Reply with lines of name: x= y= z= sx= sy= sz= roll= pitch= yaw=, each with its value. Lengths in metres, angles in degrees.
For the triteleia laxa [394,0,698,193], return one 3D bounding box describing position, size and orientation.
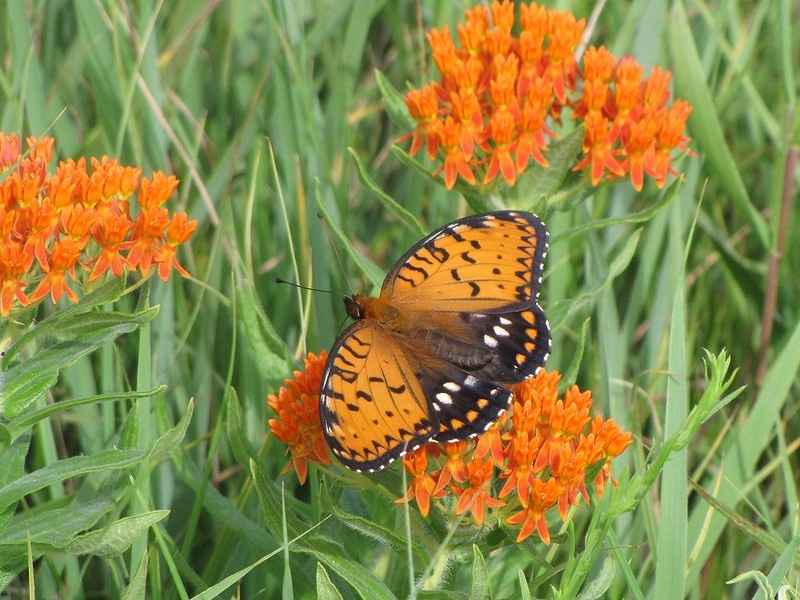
triteleia laxa: x=0.466 y=-0.668 z=3.498 sx=0.911 sy=0.485 sz=0.684 roll=0 pitch=83 yaw=0
